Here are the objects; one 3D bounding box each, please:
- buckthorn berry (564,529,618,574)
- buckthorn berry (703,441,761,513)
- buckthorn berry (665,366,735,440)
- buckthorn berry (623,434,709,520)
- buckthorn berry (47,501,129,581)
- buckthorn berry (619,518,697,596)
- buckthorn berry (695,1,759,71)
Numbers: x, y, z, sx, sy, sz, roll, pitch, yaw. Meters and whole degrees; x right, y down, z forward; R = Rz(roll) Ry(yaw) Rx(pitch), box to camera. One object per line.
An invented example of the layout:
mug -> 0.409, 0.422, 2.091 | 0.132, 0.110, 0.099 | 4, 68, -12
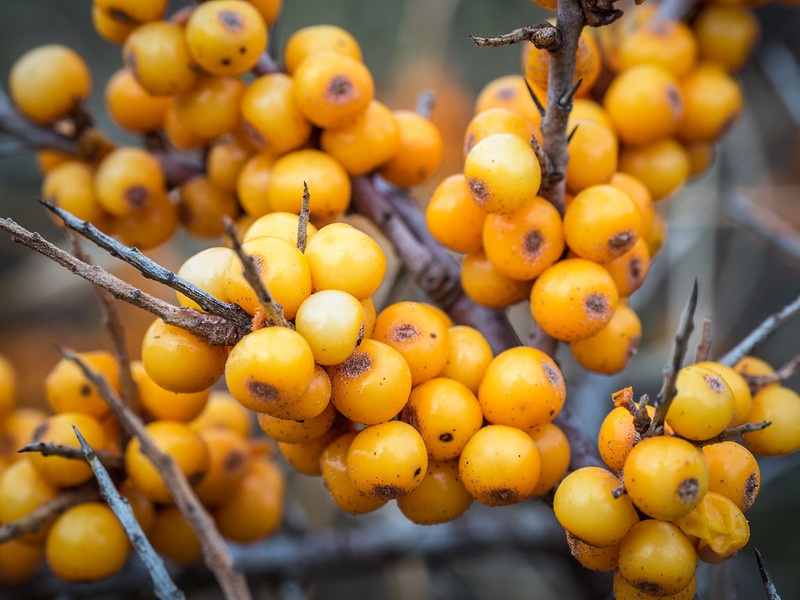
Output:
buckthorn berry -> 0.330, 0.442, 1.538 | 0.081, 0.066, 0.049 | 22, 67, 6
buckthorn berry -> 0.578, 0.297, 1.540 | 0.108, 0.110, 0.139 | -3, 85, 29
buckthorn berry -> 0.501, 0.172, 1.525 | 0.103, 0.118, 0.111 | 20, 38, 21
buckthorn berry -> 0.440, 0.291, 1.511 | 0.121, 0.151, 0.133 | -13, 41, 43
buckthorn berry -> -0.626, 0.492, 1.767 | 0.155, 0.147, 0.190 | 5, 79, -29
buckthorn berry -> 0.426, 0.428, 1.532 | 0.121, 0.123, 0.120 | 20, 59, 0
buckthorn berry -> 0.654, -0.528, 1.808 | 0.115, 0.123, 0.153 | 4, 99, 22
